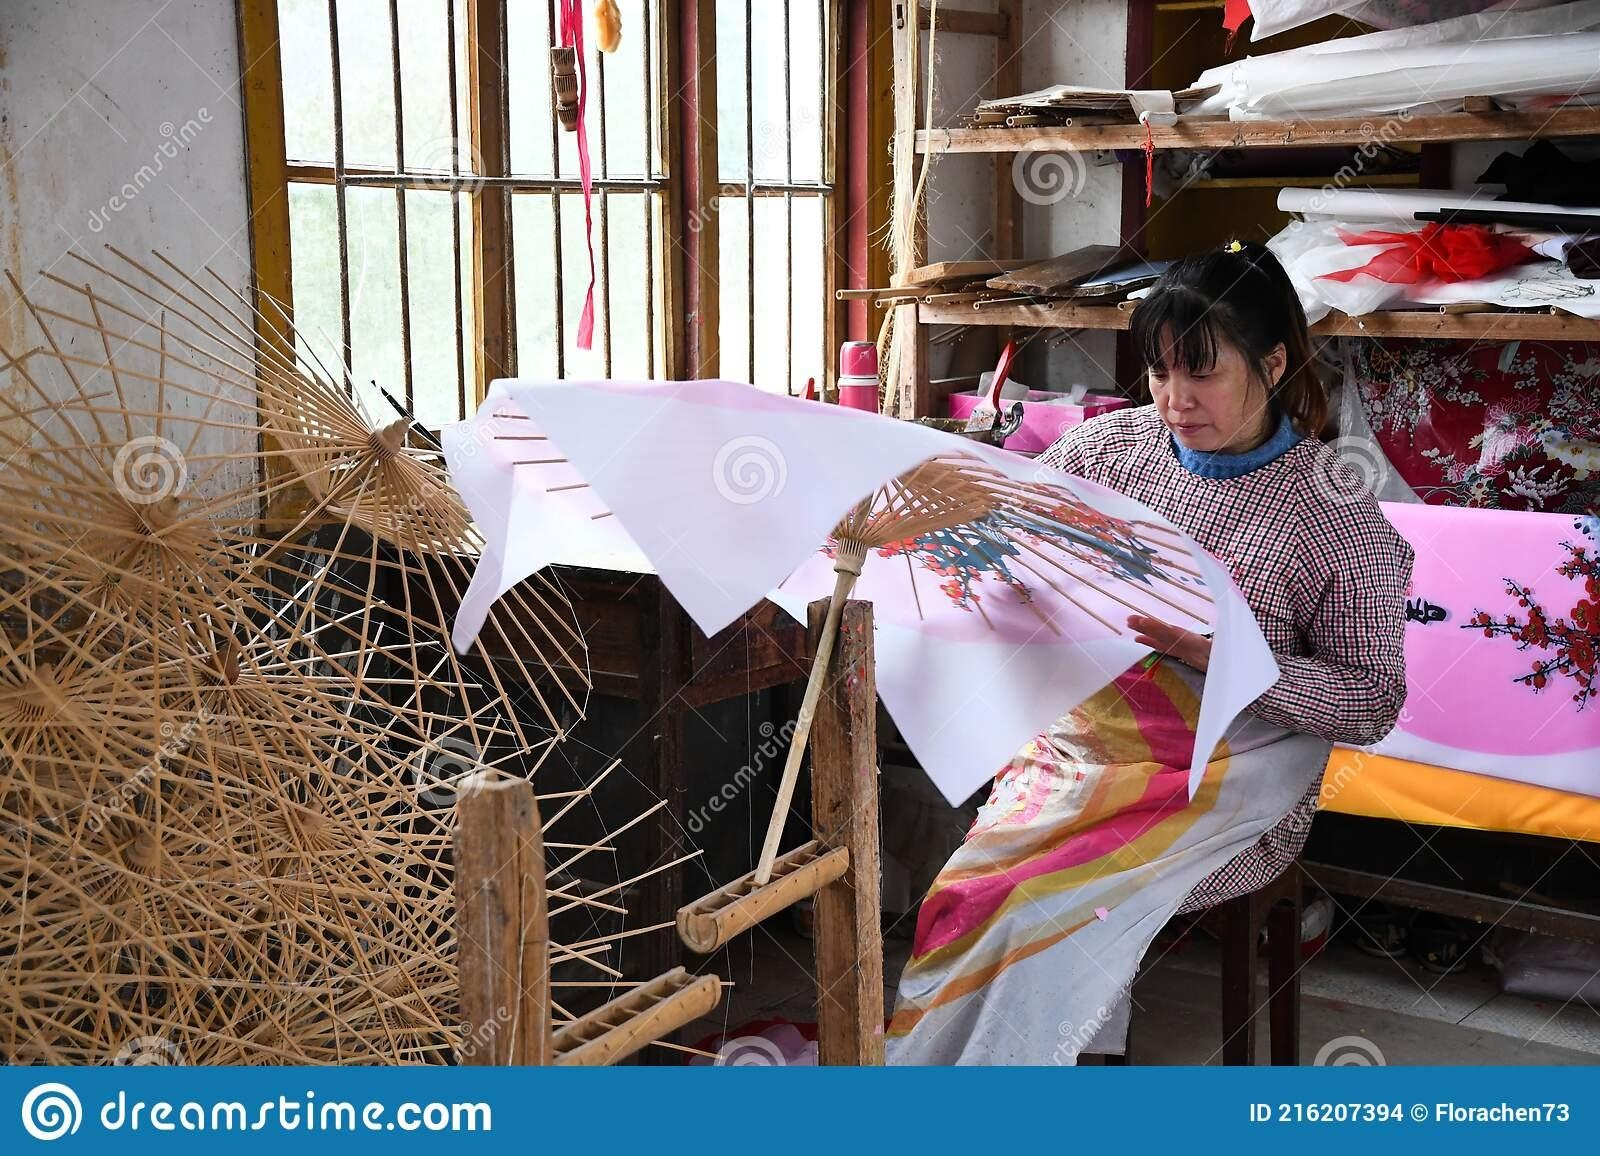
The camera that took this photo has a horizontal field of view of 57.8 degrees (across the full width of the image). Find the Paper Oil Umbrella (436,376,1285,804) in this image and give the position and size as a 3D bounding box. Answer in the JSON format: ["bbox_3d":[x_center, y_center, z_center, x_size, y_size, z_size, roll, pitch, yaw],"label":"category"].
[{"bbox_3d":[0.249,-0.053,1.986,0.772,0.266,0.813,-9,25,-23],"label":"Paper Oil Umbrella"}]

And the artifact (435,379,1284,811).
[{"bbox_3d":[0.048,0.028,1.632,0.914,0.445,0.498,2,1,-9],"label":"artifact"}]

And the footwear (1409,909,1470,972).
[{"bbox_3d":[1.452,0.833,3.319,0.075,0.077,0.169,-3,7,-11],"label":"footwear"}]

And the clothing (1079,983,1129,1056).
[{"bbox_3d":[0.471,0.681,2.188,0.026,0.102,0.100,11,-17,29],"label":"clothing"}]

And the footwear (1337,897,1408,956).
[{"bbox_3d":[1.334,0.813,3.402,0.069,0.083,0.187,-21,32,-10],"label":"footwear"}]

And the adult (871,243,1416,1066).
[{"bbox_3d":[0.508,0.240,2.380,0.790,1.540,0.681,-5,14,-42],"label":"adult"}]
